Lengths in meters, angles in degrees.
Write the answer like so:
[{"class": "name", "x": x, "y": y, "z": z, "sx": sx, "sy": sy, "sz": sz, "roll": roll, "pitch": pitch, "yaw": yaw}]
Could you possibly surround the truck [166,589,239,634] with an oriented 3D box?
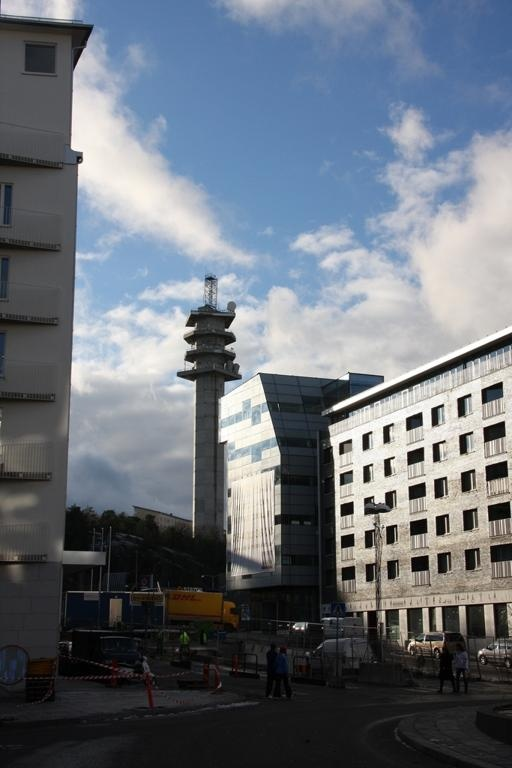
[{"class": "truck", "x": -3.599, "y": 15.503, "z": 62.532, "sx": 6.328, "sy": 3.191, "sz": 2.618, "roll": 2, "pitch": -4, "yaw": -25}]
